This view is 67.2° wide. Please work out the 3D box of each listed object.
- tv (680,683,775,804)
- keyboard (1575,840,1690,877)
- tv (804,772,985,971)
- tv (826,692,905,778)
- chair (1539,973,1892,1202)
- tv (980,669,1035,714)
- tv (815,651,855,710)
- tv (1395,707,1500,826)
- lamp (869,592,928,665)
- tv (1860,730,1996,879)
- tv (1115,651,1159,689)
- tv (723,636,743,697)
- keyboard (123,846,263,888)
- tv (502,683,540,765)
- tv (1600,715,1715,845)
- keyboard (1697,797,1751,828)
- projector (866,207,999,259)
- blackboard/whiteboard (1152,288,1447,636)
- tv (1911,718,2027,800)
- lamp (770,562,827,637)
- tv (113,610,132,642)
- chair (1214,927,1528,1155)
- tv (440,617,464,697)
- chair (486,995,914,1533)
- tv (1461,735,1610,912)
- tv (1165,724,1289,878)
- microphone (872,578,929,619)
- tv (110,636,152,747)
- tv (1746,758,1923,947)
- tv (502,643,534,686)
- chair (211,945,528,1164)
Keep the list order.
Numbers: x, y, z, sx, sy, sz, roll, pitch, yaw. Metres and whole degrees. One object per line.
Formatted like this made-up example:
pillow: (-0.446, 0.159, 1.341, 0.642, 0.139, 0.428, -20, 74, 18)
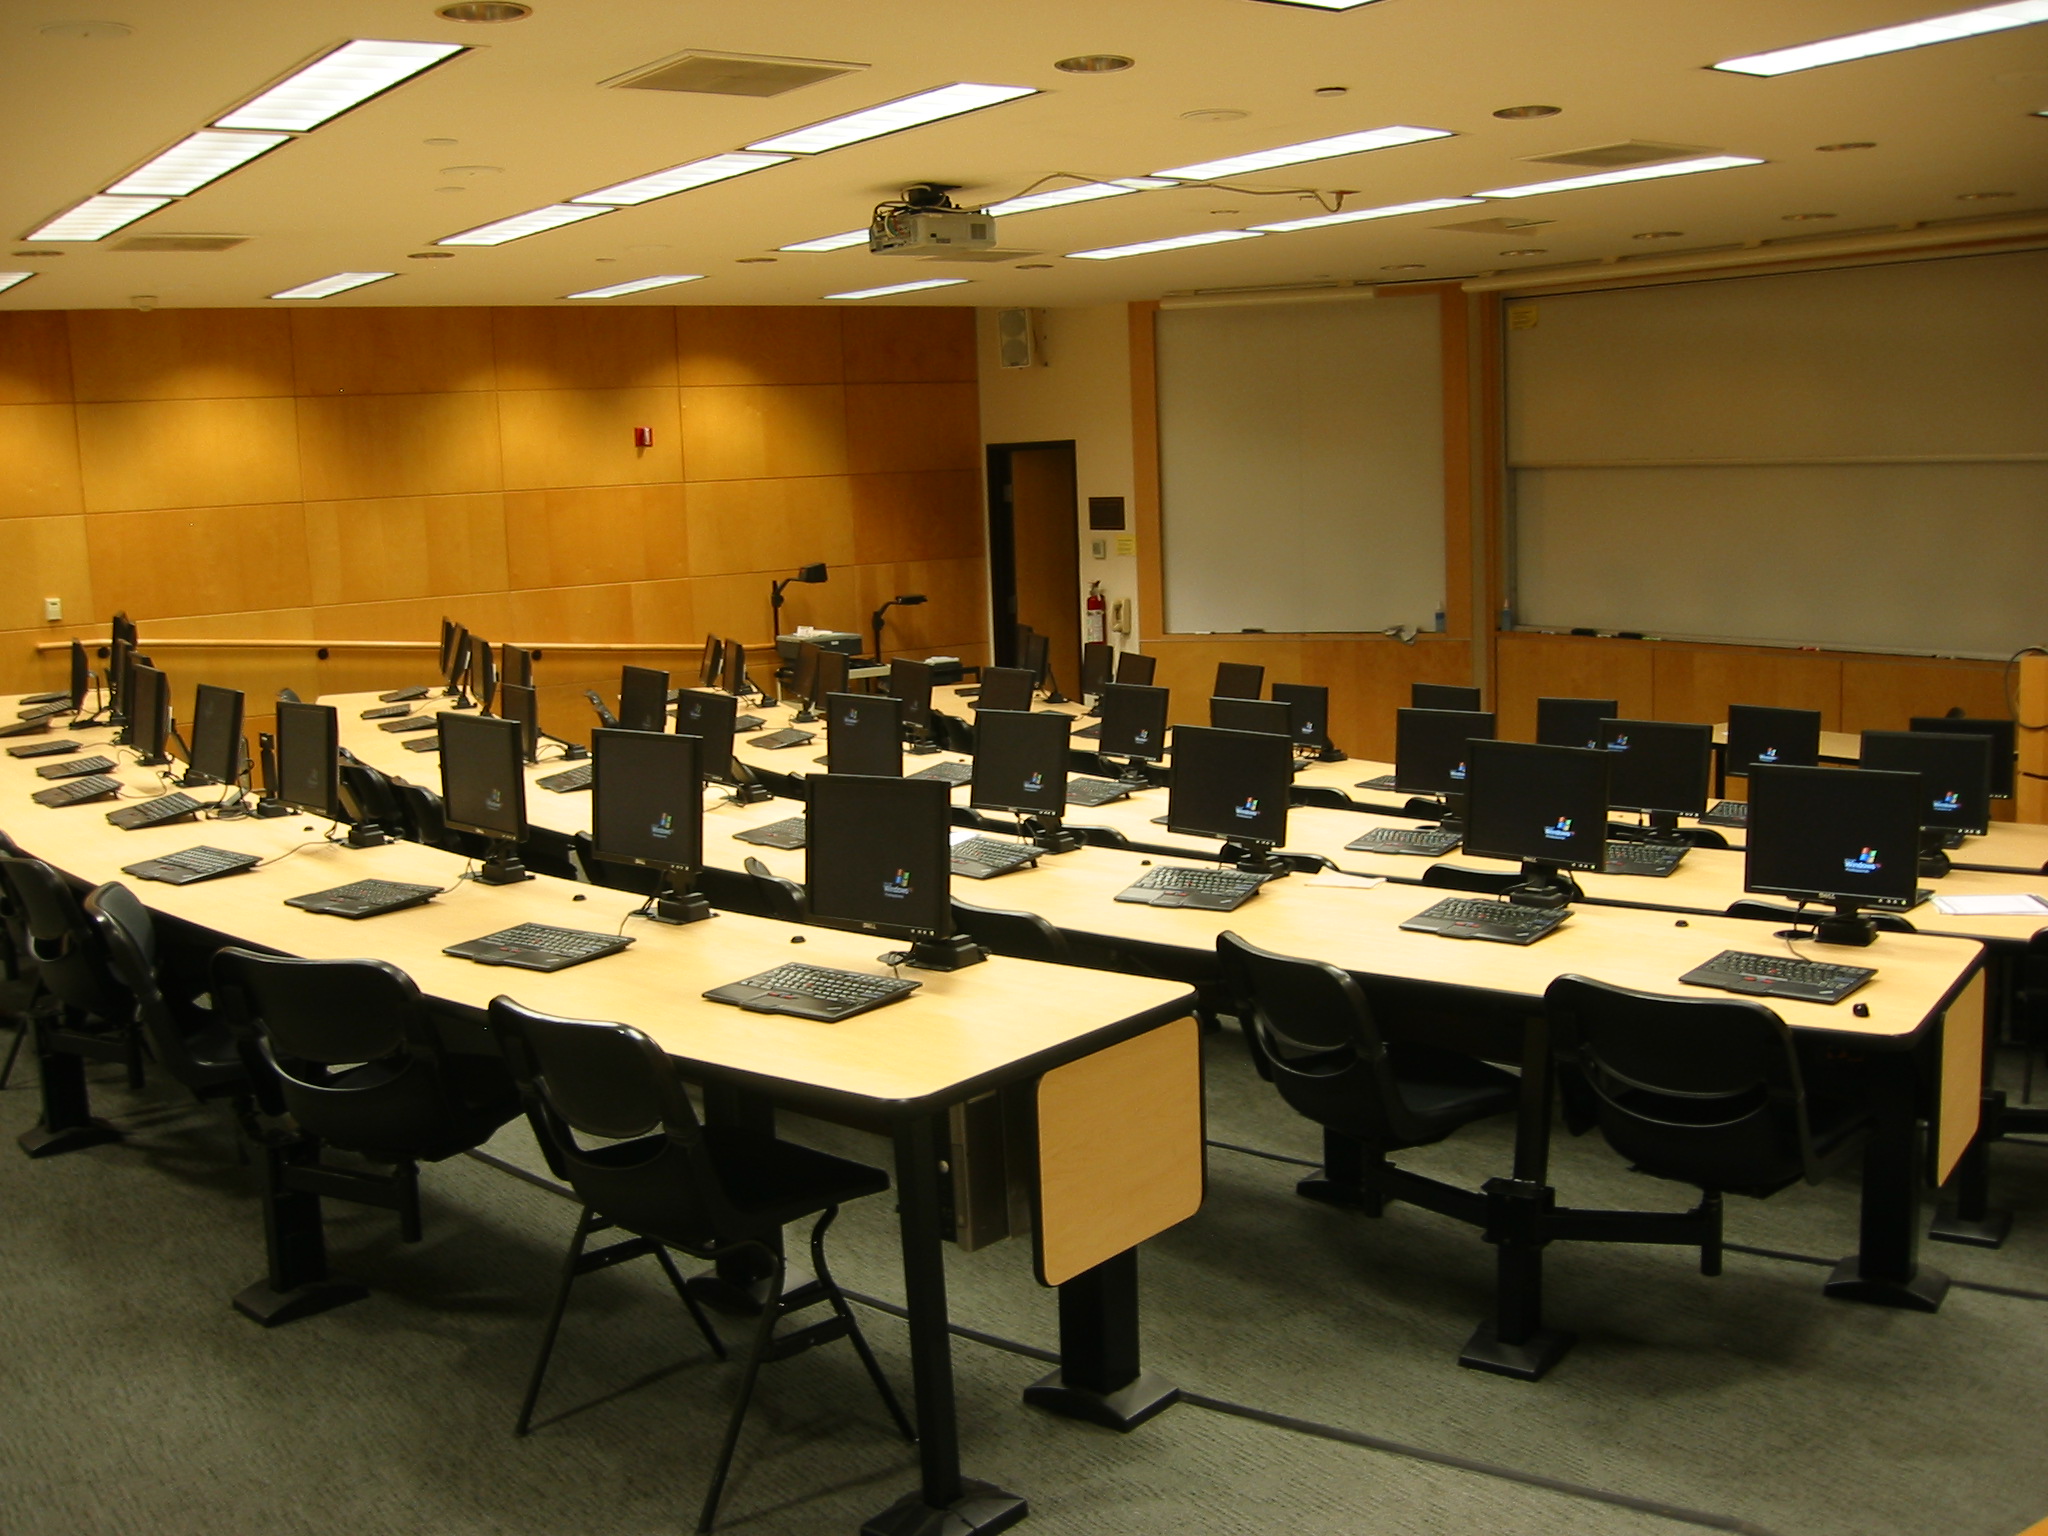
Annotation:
tv: (-1.467, -0.096, 7.525, 0.406, 0.562, 0.621, -16, 24, -41)
keyboard: (2.356, 0.356, 5.876, 0.238, 0.050, 0.318, -2, 9, 26)
tv: (-0.417, 0.331, 4.583, 0.558, 0.489, 0.247, 6, 8, 31)
tv: (-0.708, -0.127, 6.667, 0.041, 0.331, 0.392, -15, 4, -36)
chair: (1.921, 0.853, 4.275, 0.822, 0.613, 0.725, 5, 20, 38)
tv: (-0.107, -0.382, 7.875, 0.297, 0.264, 0.041, 14, 19, 32)
tv: (-1.141, -0.500, 8.951, 0.052, 0.440, 0.485, -3, 9, -34)
tv: (1.720, 0.002, 6.283, 0.469, 0.437, 0.155, 11, 18, 36)
lamp: (-1.283, -1.293, 14.271, 0.488, 0.584, 0.917, 3, 12, 23)
tv: (3.144, 0.136, 5.356, 0.513, 0.516, 0.199, 6, 11, 42)
tv: (0.669, -0.585, 9.326, 0.302, 0.186, 0.271, 10, 17, 21)
tv: (-1.950, -0.638, 10.146, 0.083, 0.375, 0.552, -2, 11, -19)
keyboard: (-3.283, 0.400, 6.050, 0.395, 0.036, 0.380, 6, 12, 36)
tv: (-2.412, -0.206, 7.283, 0.057, 0.387, 0.421, -8, 17, -30)
tv: (2.561, 0.066, 6.244, 0.524, 0.505, 0.179, 7, 16, 40)
keyboard: (2.970, 0.201, 6.543, 0.143, 0.044, 0.200, 5, 10, 35)
projector: (-0.444, -2.466, 7.058, 0.541, 0.199, 0.277, -2, 11, 2)
blackboard/whiteboard: (2.297, -2.519, 12.374, 3.052, 3.120, 0.243, 0, 4, 17)
tv: (3.795, -0.030, 6.190, 0.412, 0.254, 0.228, -1, 0, 18)
lamp: (-2.026, -1.516, 13.837, 0.607, 0.649, 0.588, -5, 12, -13)
tv: (-6.165, -0.964, 10.440, 0.124, 0.122, 1.827, -9, 13, -30)
chair: (1.074, 0.750, 4.695, 0.901, 0.672, 0.603, -13, 15, -35)
tv: (-4.017, -0.742, 10.695, 0.122, 0.482, 0.724, -1, 5, -24)
chair: (-0.870, 1.119, 3.892, 0.917, 1.171, 1.107, -7, 12, -23)
tv: (1.766, 0.210, 5.315, 0.623, 0.592, 0.253, 1, -2, 32)
tv: (0.761, 0.137, 5.778, 0.576, 0.533, 0.302, 6, 1, 40)
microphone: (-1.212, -1.530, 14.327, 0.301, 0.204, 0.474, 26, 36, 36)
tv: (-5.102, -0.400, 8.706, 0.238, 0.666, 0.705, -3, 9, -32)
tv: (2.495, 0.276, 4.738, 0.584, 0.592, 0.227, 2, -3, 23)
tv: (-3.038, -0.593, 9.119, 0.046, 0.294, 0.440, -8, 12, -35)
chair: (-1.774, 0.771, 4.398, 0.857, 0.583, 0.762, 4, 5, 33)
